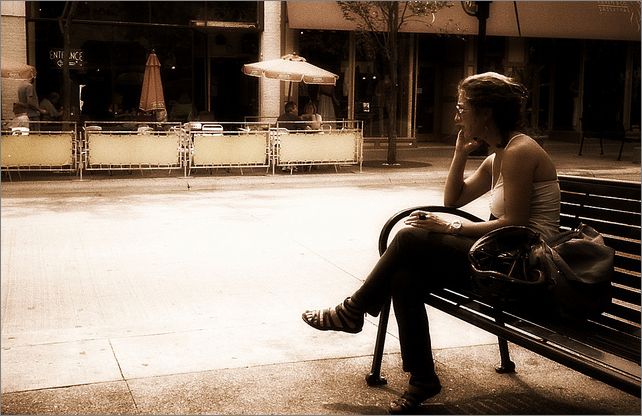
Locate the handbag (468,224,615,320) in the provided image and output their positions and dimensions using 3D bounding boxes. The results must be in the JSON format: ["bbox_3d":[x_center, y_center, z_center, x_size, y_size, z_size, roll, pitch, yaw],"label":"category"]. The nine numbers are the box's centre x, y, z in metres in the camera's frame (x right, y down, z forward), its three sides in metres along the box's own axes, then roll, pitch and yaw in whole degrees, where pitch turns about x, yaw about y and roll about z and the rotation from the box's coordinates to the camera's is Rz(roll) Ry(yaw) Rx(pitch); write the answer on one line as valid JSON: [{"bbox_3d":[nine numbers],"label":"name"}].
[{"bbox_3d":[1.593,0.515,4.358,0.886,0.384,0.670,4,43,5],"label":"handbag"}]

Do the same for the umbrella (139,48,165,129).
[{"bbox_3d":[-5.670,-4.086,20.099,0.805,2.335,1.986,-2,11,-14],"label":"umbrella"}]

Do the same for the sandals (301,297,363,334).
[{"bbox_3d":[0.125,0.879,4.989,0.594,0.281,0.219,8,5,20],"label":"sandals"}]

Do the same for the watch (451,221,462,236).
[{"bbox_3d":[1.068,0.148,4.709,0.099,0.102,0.078,0,2,5],"label":"watch"}]
